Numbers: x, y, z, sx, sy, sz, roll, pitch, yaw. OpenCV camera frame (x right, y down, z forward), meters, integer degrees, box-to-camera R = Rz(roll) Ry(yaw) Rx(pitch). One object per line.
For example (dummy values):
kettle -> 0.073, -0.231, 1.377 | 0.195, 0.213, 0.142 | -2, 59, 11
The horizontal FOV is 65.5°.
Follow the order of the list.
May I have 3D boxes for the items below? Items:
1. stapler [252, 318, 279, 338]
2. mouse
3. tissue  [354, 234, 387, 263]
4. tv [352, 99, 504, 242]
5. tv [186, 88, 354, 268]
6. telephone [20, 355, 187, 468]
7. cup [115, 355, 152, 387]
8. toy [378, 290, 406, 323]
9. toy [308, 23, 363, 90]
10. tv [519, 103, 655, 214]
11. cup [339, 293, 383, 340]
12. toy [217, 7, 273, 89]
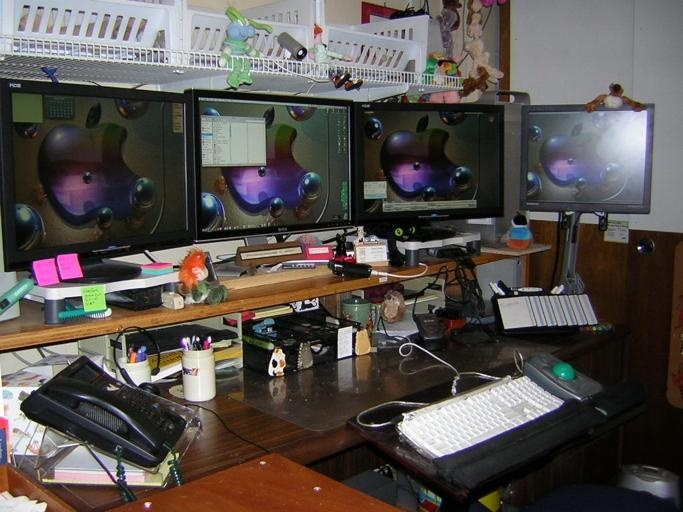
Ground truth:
stapler -> -0.260, 0.246, 1.801 | 0.050, 0.023, 0.065 | -5, 6, -35
mouse -> 0.642, 0.351, 1.557 | 0.105, 0.060, 0.187 | -17, 32, -33
tissue  -> 0.109, -0.021, 2.031 | 0.146, 0.096, 0.118 | -3, 8, -12
tv -> 0.325, -0.348, 2.102 | 0.600, 0.406, 0.059 | -3, 6, -18
tv -> -0.249, -0.277, 1.830 | 0.664, 0.494, 0.068 | -6, 9, -35
telephone -> -0.521, 0.363, 1.201 | 0.277, 0.088, 0.208 | 22, 17, 5
cup -> -0.574, 0.314, 1.489 | 0.078, 0.072, 0.078 | 1, 3, 0
toy -> 0.204, 0.198, 2.078 | 0.110, 0.108, 0.043 | 4, 0, -16
toy -> -0.031, -0.675, 1.869 | 0.232, 0.249, 0.149 | 8, 53, 5
tv -> 1.024, -0.414, 2.212 | 0.474, 0.394, 0.047 | 4, 8, 19
cup -> 0.082, 0.233, 2.001 | 0.158, 0.109, 0.101 | -2, 3, -42
toy -> -0.298, -0.647, 1.679 | 0.096, 0.228, 0.218 | 0, 8, 14
